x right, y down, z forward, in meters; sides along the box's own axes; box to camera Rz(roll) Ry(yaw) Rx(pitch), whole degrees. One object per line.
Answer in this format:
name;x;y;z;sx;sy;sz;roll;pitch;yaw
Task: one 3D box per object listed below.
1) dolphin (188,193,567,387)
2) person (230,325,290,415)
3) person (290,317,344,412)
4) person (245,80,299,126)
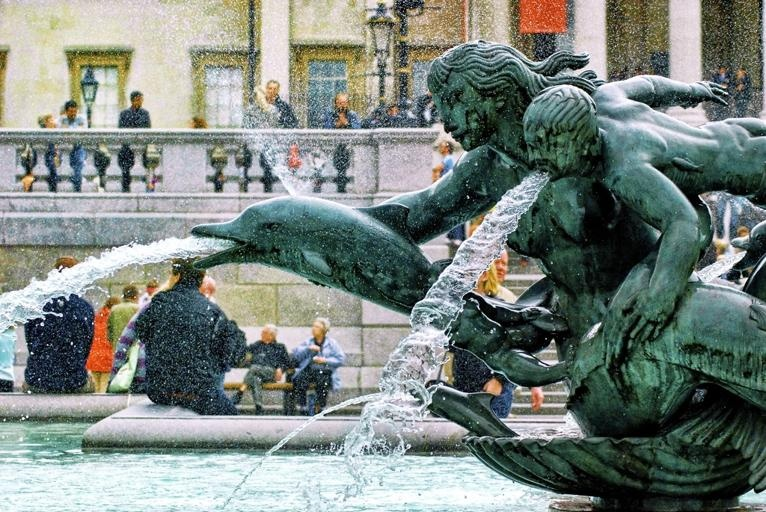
dolphin;-0.073;0.242;30.492;5.467;2.120;1.722;11;7;6
person;-2.186;2.030;38.200;0.850;1.518;0.808;9;7;-14
person;-1.220;1.875;37.623;0.772;1.660;0.745;-1;3;21
person;-2.284;-3.071;45.481;0.886;1.162;0.802;-12;9;-43
